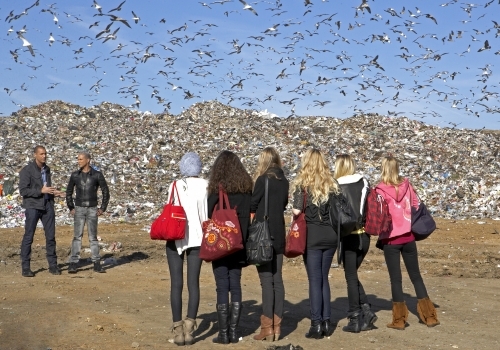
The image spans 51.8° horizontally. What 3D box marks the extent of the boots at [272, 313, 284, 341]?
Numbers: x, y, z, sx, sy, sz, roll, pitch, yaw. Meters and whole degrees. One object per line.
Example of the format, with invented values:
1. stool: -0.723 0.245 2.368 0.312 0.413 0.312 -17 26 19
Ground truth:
1. boots: 0.414 2.528 8.662 0.187 0.383 0.422 4 -3 -4

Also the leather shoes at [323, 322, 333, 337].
1. leather shoes: 1.251 2.544 8.548 0.118 0.309 0.135 -2 30 -1

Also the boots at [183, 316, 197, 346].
1. boots: -0.991 2.521 8.310 0.195 0.434 0.156 -1 7 -8

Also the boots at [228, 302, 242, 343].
1. boots: -0.272 2.403 8.391 0.181 0.648 0.187 0 7 -1

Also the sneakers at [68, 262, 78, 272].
1. sneakers: -3.935 2.070 11.460 0.194 0.248 0.224 -2 7 -19

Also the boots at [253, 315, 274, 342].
1. boots: 0.084 2.538 8.433 0.543 0.388 0.180 2 -15 -20

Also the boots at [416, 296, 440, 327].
1. boots: 2.970 2.347 8.869 0.389 0.561 0.532 -6 6 20

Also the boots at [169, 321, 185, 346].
1. boots: -1.156 2.546 8.260 0.184 0.374 0.134 -2 7 -14

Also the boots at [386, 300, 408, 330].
1. boots: 2.472 2.369 8.812 0.322 0.494 0.296 2 7 17

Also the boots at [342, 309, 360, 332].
1. boots: 1.696 2.527 8.814 0.223 0.409 0.438 11 -17 -18

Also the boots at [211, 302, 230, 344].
1. boots: -0.464 2.408 8.369 0.263 0.650 0.201 4 8 25
